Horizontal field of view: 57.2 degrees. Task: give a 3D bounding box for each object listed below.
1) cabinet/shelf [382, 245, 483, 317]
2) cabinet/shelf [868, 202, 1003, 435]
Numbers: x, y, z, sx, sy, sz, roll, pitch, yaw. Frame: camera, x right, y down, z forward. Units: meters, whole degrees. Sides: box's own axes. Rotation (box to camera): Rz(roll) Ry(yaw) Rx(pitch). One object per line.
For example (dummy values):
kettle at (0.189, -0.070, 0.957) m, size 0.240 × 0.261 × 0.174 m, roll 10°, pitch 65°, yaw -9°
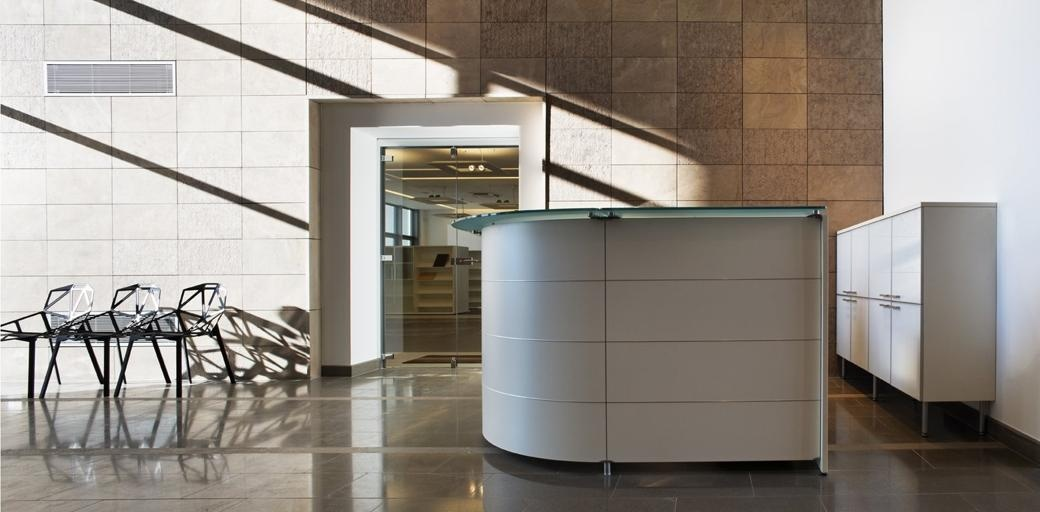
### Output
cabinet/shelf at (-1.476, 0.411, 16.334) m, size 1.674 × 1.010 × 0.459 m, roll 0°, pitch -5°, yaw 0°
cabinet/shelf at (5.861, 0.842, 13.262) m, size 1.405 × 3.254 × 0.403 m, roll -2°, pitch 0°, yaw 19°
